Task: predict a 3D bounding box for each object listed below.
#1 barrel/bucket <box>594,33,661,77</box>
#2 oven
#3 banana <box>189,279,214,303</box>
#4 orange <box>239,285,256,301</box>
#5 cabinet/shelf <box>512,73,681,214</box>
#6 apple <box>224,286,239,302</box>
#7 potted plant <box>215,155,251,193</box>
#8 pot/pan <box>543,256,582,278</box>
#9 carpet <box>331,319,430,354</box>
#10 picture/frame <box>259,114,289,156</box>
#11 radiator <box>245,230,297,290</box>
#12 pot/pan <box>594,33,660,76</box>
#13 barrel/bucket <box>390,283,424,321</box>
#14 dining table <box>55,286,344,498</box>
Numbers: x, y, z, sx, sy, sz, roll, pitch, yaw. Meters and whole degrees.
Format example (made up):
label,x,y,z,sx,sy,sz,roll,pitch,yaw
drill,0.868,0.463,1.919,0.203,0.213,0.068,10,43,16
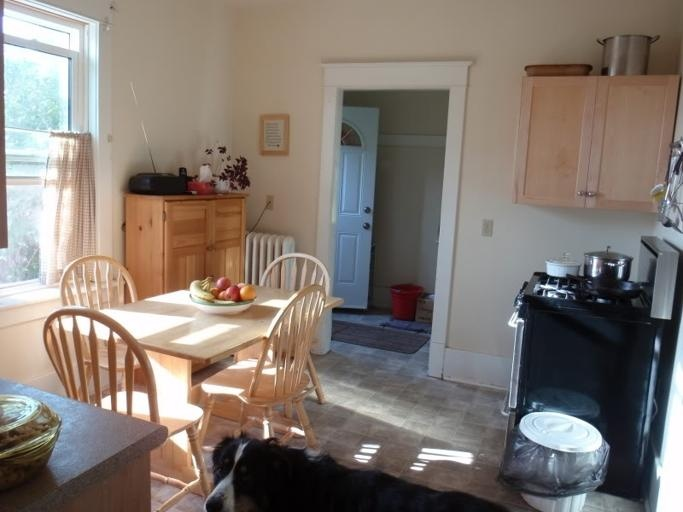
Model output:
label,x,y,z,sx,sy,sz,roll,pitch,yaw
barrel/bucket,1.905,-1.306,3.457,0.365,0.232,0.301,6,6,37
oven,1.518,0.651,3.286,0.850,1.082,0.811,2,19,11
banana,-0.842,0.208,3.073,0.110,0.061,0.215,-9,19,-13
orange,-0.573,0.229,3.129,0.088,0.088,0.085,4,27,-1
cabinet/shelf,1.728,-0.770,3.422,0.952,0.860,0.378,5,9,22
apple,-0.653,0.221,3.058,0.076,0.084,0.079,4,10,11
potted plant,-0.950,-0.732,4.590,0.283,0.321,0.684,1,12,-12
pot/pan,1.538,0.071,3.541,0.177,0.111,0.176,-1,3,-42
carpet,0.351,0.799,5.220,1.022,0.026,0.718,8,12,19
picture/frame,-0.608,-1.093,4.677,0.303,0.365,0.035,7,11,30
radiator,-0.615,0.033,4.444,0.464,0.565,0.106,6,9,25
pot/pan,1.867,-1.309,3.399,0.365,0.232,0.301,6,6,37
barrel/bucket,0.738,0.532,5.973,0.377,0.350,0.350,3,-1,0
dining table,-0.714,0.661,2.573,0.533,0.499,0.996,5,11,22
